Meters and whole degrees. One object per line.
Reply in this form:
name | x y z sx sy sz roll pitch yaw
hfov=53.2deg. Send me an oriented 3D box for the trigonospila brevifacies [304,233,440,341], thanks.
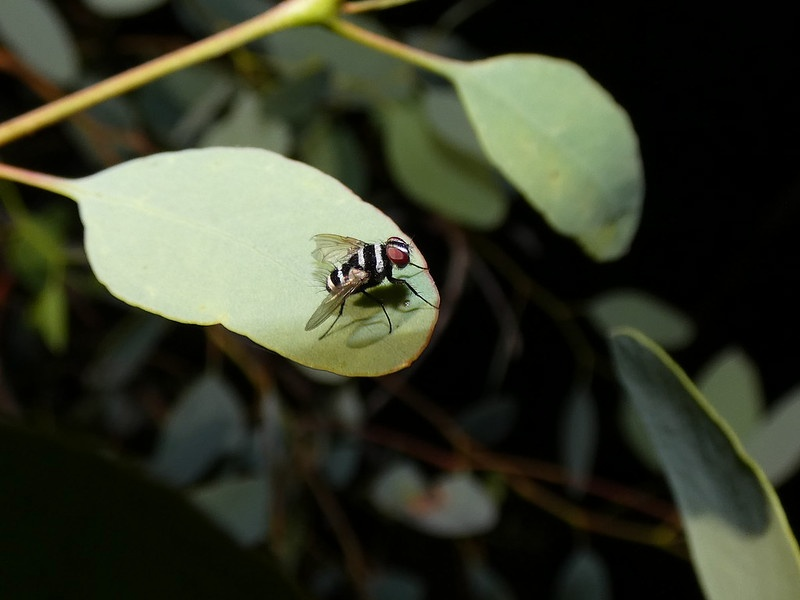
trigonospila brevifacies | -0.056 -0.041 1.138 0.123 0.067 0.161 -13 42 -4
